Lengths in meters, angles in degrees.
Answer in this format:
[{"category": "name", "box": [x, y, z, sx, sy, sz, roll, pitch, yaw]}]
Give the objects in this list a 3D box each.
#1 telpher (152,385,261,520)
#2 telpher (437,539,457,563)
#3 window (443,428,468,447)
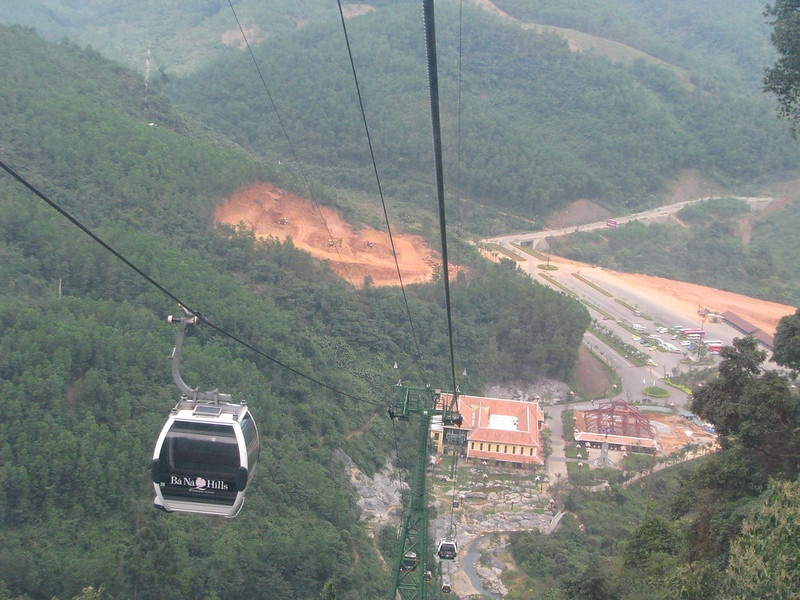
[{"category": "telpher", "box": [-12.756, 9.912, 84.198, 7.300, 7.106, 7.183, 6, 6, 0]}, {"category": "telpher", "box": [3.263, 18.189, 94.922, 1.872, 1.428, 1.471, 2, 6, 3]}, {"category": "window", "box": [4.342, 11.415, 108.827, 2.980, 1.484, 1.985, 3, -2, 10]}]
